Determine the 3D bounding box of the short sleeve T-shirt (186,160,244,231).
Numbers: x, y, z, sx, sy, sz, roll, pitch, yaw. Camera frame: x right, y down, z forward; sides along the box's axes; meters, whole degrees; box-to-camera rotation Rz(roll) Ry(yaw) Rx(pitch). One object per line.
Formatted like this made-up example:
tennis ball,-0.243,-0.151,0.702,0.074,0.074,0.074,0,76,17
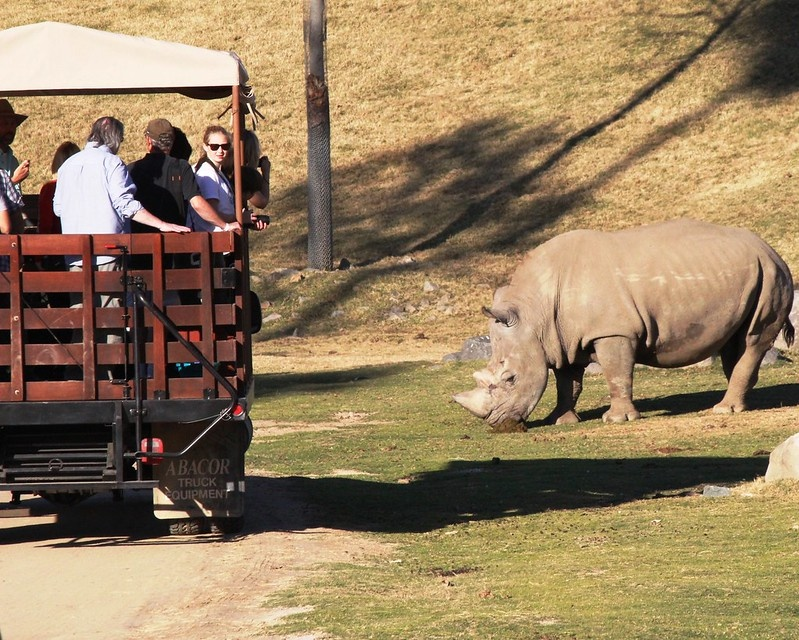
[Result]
short sleeve T-shirt,-3.482,-2.416,46.187,0.601,1.102,1.004,4,6,19

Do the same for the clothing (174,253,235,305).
clothing,-3.621,-0.771,45.666,1.058,1.010,0.262,0,-2,0
